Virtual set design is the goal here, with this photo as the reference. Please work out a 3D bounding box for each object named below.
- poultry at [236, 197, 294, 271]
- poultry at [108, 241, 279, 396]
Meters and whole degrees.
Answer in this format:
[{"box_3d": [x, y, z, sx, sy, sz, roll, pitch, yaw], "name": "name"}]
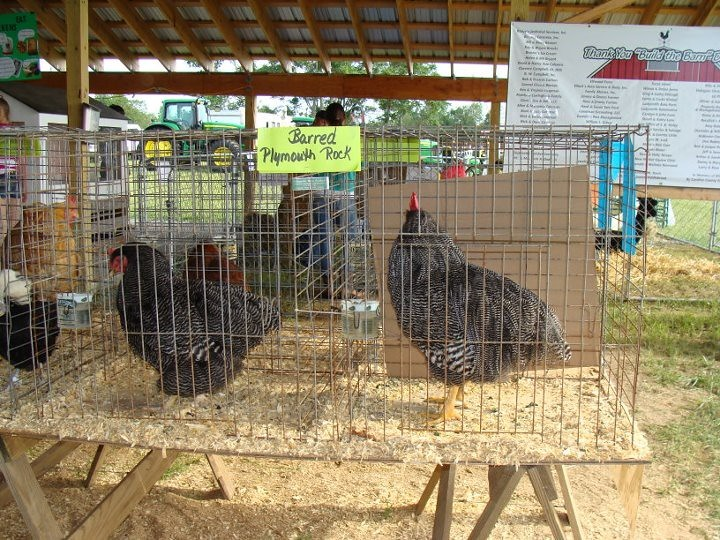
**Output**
[{"box_3d": [-0.738, -0.287, 4.668, 0.624, 0.572, 0.327, 4, 19, 5], "name": "poultry"}, {"box_3d": [-0.951, 0.308, 3.552, 1.114, 0.819, 0.603, 4, 17, 19], "name": "poultry"}]
